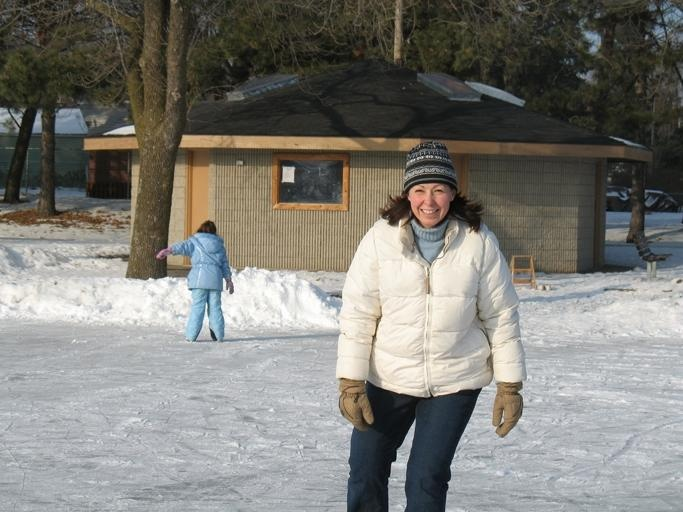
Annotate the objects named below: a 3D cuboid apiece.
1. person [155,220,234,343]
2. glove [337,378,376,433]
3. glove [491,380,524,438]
[{"bbox_3d":[-2.196,0.408,16.347,0.909,1.818,0.629,-1,12,-10],"label":"person"},{"bbox_3d":[0.134,1.417,9.970,0.369,0.463,0.196,2,-8,-4],"label":"glove"},{"bbox_3d":[1.650,1.495,10.050,0.286,0.533,0.155,9,-11,14],"label":"glove"}]
